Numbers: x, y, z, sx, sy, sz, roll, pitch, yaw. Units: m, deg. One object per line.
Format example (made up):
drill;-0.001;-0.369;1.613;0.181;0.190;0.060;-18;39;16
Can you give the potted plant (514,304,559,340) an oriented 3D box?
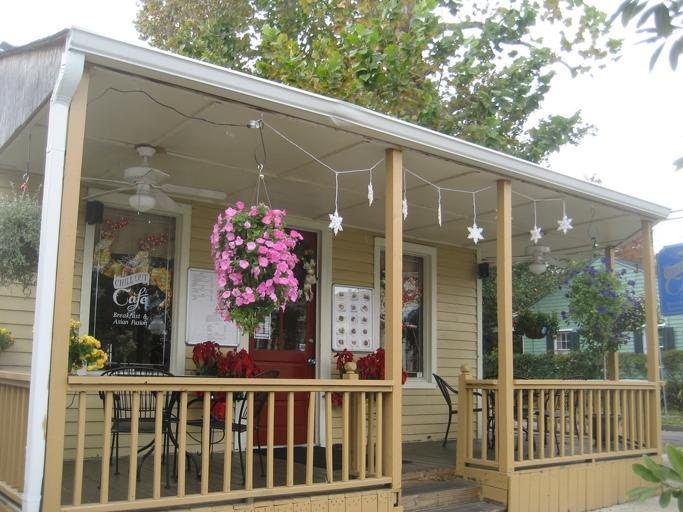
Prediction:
potted plant;4.561;1.520;15.352;0.767;0.568;0.799;0;-6;-8

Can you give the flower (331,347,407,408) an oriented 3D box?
flower;0.323;1.534;8.266;0.848;0.608;0.867;4;-13;-24

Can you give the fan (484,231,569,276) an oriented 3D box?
fan;2.587;0.057;9.763;1.171;0.593;1.879;-1;-12;12

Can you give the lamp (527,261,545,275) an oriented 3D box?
lamp;2.663;0.166;9.046;0.169;0.122;0.175;-1;-7;5

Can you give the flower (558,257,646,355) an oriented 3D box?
flower;3.484;0.674;8.790;0.978;1.174;0.534;2;-11;-3

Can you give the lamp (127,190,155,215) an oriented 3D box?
lamp;-1.886;-0.528;6.170;0.241;0.107;0.250;-8;-20;20

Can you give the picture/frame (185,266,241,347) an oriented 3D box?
picture/frame;-1.356;0.511;6.787;0.807;1.072;0.078;6;-14;-36

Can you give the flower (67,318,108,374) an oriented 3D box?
flower;-2.286;0.820;5.992;0.298;0.410;1.006;5;-12;-20
